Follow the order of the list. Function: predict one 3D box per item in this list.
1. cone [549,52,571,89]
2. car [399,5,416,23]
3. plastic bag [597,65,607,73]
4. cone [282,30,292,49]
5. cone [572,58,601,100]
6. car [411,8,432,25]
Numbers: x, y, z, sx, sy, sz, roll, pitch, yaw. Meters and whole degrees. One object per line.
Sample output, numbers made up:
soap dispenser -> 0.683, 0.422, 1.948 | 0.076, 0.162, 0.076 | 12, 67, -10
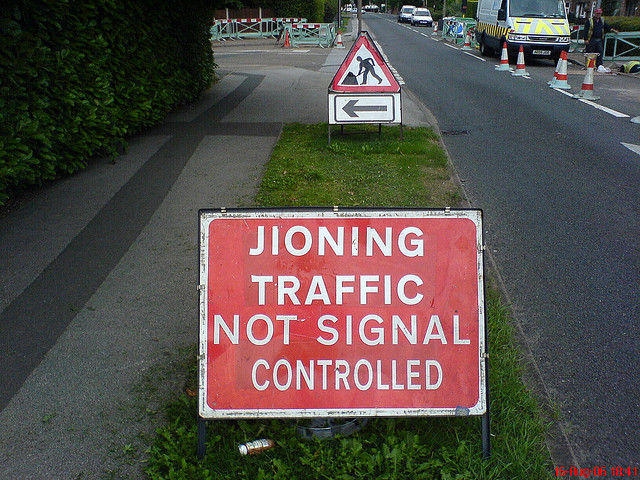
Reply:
cone -> 7.753, -5.437, 17.708 | 0.620, 0.984, 1.306 | 14, 33, 20
car -> 11.142, -28.114, 69.800 | 1.739, 1.954, 3.632 | 0, 30, 4
plastic bag -> 10.762, -6.655, 21.333 | 0.175, 0.163, 0.382 | -7, 39, 6
cone -> -1.949, -12.386, 34.055 | 0.666, 1.031, 0.834 | 2, 12, 2
cone -> 7.603, -4.644, 15.735 | 0.741, 1.049, 0.722 | -17, 29, -29
car -> 11.256, -24.848, 61.069 | 1.277, 1.462, 2.873 | 0, 31, 4
